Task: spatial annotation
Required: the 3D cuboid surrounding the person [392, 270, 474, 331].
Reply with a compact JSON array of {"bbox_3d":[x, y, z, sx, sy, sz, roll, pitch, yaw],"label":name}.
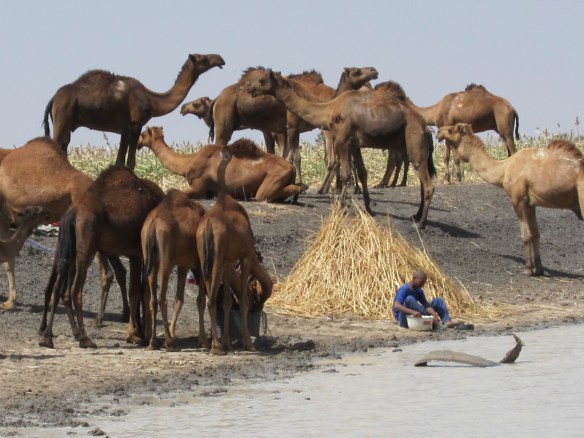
[{"bbox_3d":[1.950,1.140,16.075,1.052,0.779,0.598,-2,-3,37],"label":"person"}]
